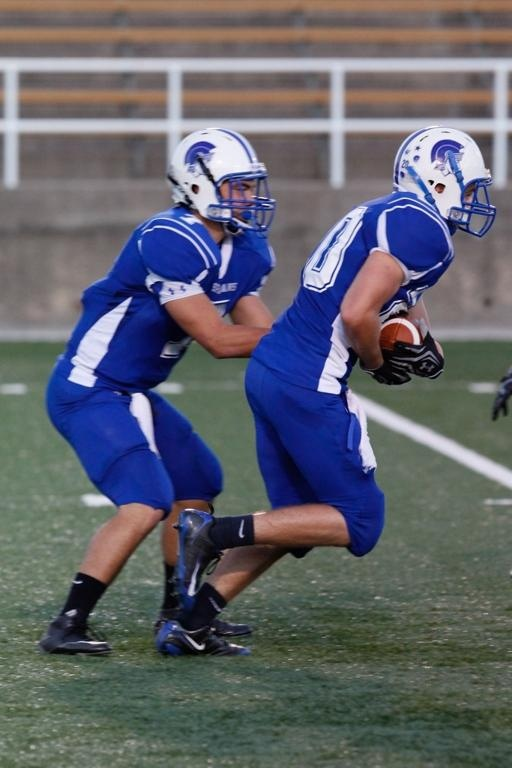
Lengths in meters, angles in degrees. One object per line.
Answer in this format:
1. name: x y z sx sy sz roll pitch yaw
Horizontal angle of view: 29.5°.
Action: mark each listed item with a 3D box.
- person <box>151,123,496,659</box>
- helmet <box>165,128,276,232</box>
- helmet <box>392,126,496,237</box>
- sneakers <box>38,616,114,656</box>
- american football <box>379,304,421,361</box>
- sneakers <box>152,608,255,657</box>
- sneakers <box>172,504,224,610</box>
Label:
1. person: 0.188 -0.005 2.478 0.697 1.342 0.589 0 2 23
2. helmet: -0.098 -0.558 2.647 0.324 0.236 0.217 15 21 19
3. helmet: 0.483 -0.542 2.550 0.269 0.229 0.254 23 22 35
4. sneakers: -0.446 0.626 2.406 0.205 0.077 0.076 -2 -8 22
5. american football: 0.363 -0.124 2.451 0.150 0.114 0.095 -8 12 -8
6. sneakers: -0.137 0.623 2.429 0.305 0.098 0.087 1 1 -12
7. sneakers: -0.134 0.428 2.410 0.154 0.234 0.089 5 -4 3
